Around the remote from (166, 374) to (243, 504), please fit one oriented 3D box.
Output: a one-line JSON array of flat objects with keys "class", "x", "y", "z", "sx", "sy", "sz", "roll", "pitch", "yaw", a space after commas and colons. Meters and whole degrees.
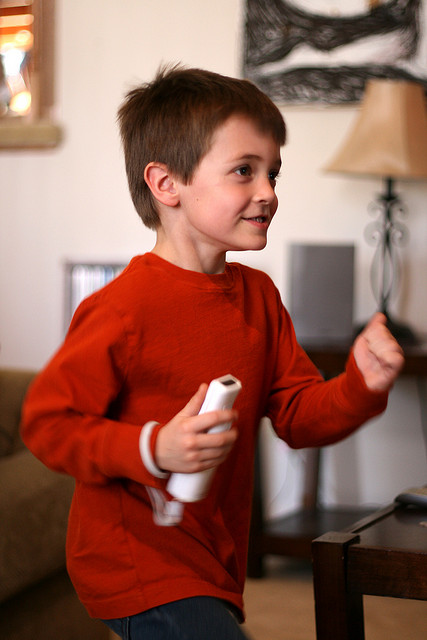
[{"class": "remote", "x": -0.003, "y": 0.106, "z": 0.498, "sx": 0.053, "sy": 0.125, "sz": 0.058, "roll": -11, "pitch": 17, "yaw": -32}]
